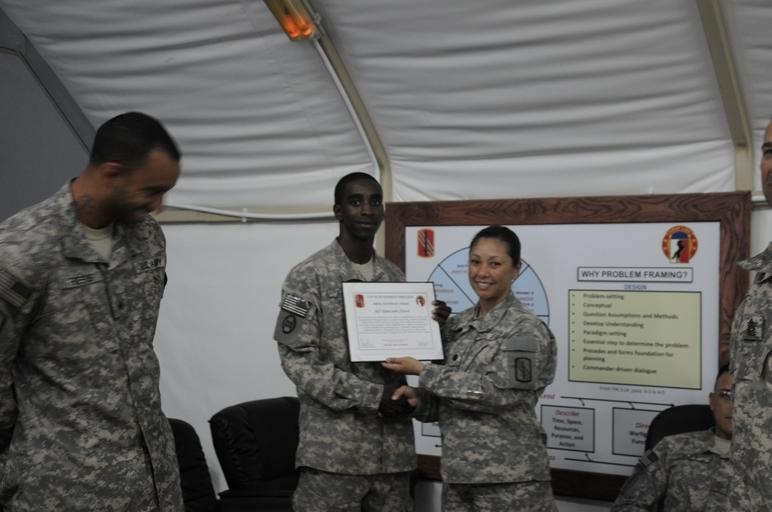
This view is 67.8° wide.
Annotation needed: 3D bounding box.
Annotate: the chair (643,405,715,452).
[{"bbox_3d":[1.745,1.042,3.542,0.301,0.344,0.316,3,-17,12],"label":"chair"}]
